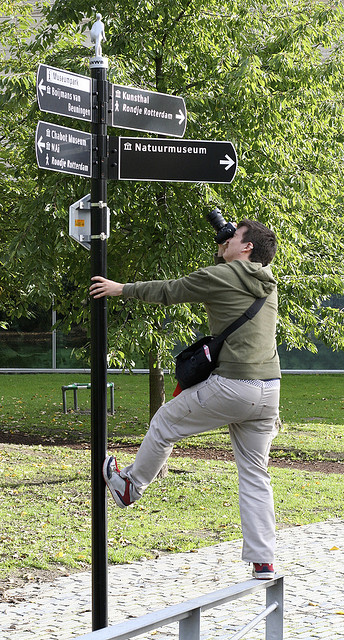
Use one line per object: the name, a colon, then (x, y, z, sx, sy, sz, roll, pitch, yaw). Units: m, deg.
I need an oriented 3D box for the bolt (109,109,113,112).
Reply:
bolt: (-0.290, -0.964, 3.729, 0.015, 0.011, 0.015, -1, 8, -13)

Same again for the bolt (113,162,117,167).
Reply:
bolt: (-0.272, -0.718, 3.759, 0.015, 0.018, 0.004, -3, 7, -25)

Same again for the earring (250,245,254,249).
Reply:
earring: (0.392, -0.361, 3.994, 0.011, 0.011, 0.003, -11, -18, -8)

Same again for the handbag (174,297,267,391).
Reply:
handbag: (0.224, 0.115, 3.824, 0.413, 0.433, 0.189, 1, 6, 5)

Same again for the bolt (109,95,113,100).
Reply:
bolt: (-0.288, -1.022, 3.725, 0.015, 0.020, 0.006, 3, -6, 1)

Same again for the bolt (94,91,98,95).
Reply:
bolt: (-0.355, -1.032, 3.693, 0.013, 0.016, 0.015, 2, 13, -1)

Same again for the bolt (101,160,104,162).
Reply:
bolt: (-0.321, -0.727, 3.710, 0.003, 0.009, 0.012, 3, 7, 23)

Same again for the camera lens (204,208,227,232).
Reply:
camera lens: (0.223, -0.516, 4.197, 0.076, 0.139, 0.080, -33, -9, 17)

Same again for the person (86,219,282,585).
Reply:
person: (0.128, 0.385, 3.915, 0.775, 1.731, 0.803, 1, 6, 8)

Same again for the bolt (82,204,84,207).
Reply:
bolt: (-0.411, -0.521, 3.673, 0.012, 0.012, 0.007, 1, -6, -12)

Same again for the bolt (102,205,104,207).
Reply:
bolt: (-0.314, -0.505, 3.588, 0.010, 0.010, 0.002, -2, -14, 13)

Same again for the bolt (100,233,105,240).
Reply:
bolt: (-0.316, -0.364, 3.580, 0.023, 0.017, 0.006, 3, 14, -14)

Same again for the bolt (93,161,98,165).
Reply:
bolt: (-0.356, -0.715, 3.691, 0.020, 0.014, 0.004, -2, 7, -22)

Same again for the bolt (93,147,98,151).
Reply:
bolt: (-0.356, -0.777, 3.691, 0.020, 0.014, 0.004, -1, 6, -11)
